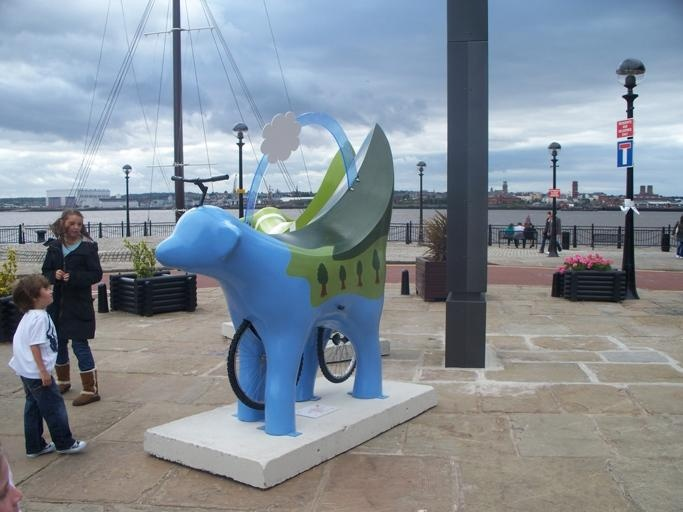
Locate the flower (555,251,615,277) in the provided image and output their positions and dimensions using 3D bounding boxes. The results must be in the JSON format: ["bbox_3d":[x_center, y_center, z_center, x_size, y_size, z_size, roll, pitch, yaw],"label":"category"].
[{"bbox_3d":[5.487,0.151,14.310,1.103,0.486,1.192,1,8,13],"label":"flower"}]

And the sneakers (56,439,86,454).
[{"bbox_3d":[-2.638,1.855,6.191,0.299,0.144,0.113,-3,11,-17],"label":"sneakers"}]

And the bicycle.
[{"bbox_3d":[-0.494,1.068,6.835,0.307,1.124,1.995,4,9,33],"label":"bicycle"}]

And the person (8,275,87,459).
[{"bbox_3d":[-2.871,1.064,6.072,0.586,1.741,0.479,5,9,37],"label":"person"}]

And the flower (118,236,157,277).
[{"bbox_3d":[-3.975,0.044,12.537,0.520,0.697,0.737,-3,8,-20],"label":"flower"}]

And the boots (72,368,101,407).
[{"bbox_3d":[-3.064,1.550,7.367,0.224,0.507,0.426,-4,-5,32],"label":"boots"}]

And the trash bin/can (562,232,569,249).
[{"bbox_3d":[10.600,-0.768,30.018,0.325,0.776,0.657,2,8,16],"label":"trash bin/can"}]

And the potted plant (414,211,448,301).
[{"bbox_3d":[1.986,0.028,14.008,0.614,1.974,1.292,0,8,6],"label":"potted plant"}]

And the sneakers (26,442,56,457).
[{"bbox_3d":[-2.923,1.906,6.150,0.251,0.107,0.090,-4,7,-41],"label":"sneakers"}]
